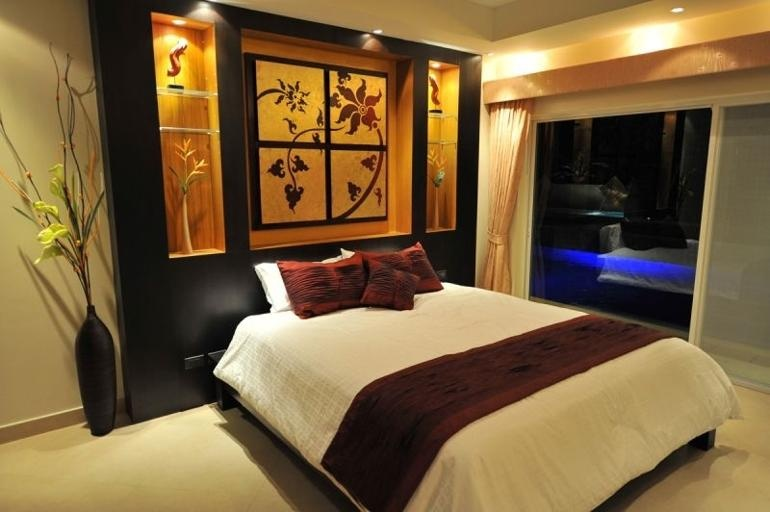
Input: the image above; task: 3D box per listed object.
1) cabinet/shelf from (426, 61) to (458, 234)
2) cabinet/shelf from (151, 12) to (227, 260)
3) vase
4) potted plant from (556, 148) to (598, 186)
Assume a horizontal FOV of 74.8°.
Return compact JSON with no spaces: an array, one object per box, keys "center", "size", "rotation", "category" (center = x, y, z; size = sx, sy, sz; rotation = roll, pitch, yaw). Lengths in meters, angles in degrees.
[{"center":[0.669,-1.217,5.749],"size":[0.339,1.814,0.365],"rotation":[1,12,5],"category":"cabinet/shelf"},{"center":[-1.675,-1.007,4.361],"size":[0.507,1.972,0.447],"rotation":[-5,13,-22],"category":"cabinet/shelf"},{"center":[-2.326,0.928,4.075],"size":[0.269,1.066,0.191],"rotation":[-8,14,-32],"category":"vase"},{"center":[2.133,-0.943,5.569],"size":[0.265,0.250,0.343],"rotation":[-2,4,-23],"category":"potted plant"}]
